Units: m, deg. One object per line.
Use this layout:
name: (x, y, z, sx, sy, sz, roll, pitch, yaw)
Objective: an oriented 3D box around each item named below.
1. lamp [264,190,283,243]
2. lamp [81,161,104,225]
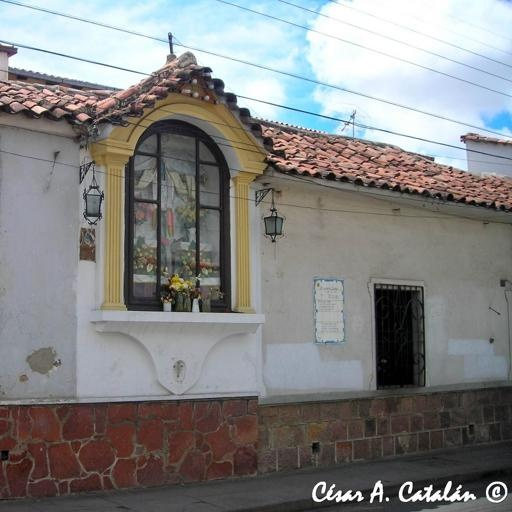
lamp: (0.269, -0.648, 12.983, 0.340, 0.932, 0.336, 5, -22, -15)
lamp: (-2.140, -0.814, 11.230, 0.266, 0.931, 0.262, 7, -18, -29)
